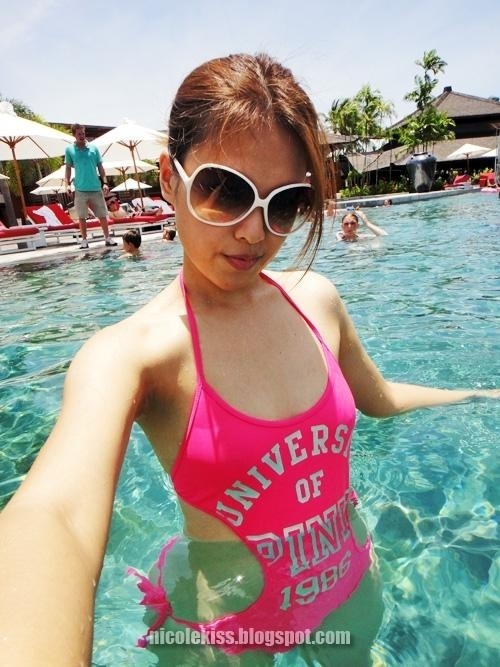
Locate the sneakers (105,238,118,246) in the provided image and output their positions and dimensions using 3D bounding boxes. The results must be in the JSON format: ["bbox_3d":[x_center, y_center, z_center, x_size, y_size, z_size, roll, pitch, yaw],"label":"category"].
[{"bbox_3d":[-3.261,-2.121,11.282,0.168,0.184,0.452,-5,5,-27],"label":"sneakers"}]

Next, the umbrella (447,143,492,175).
[{"bbox_3d":[13.711,-11.188,30.280,2.731,1.806,2.527,-1,7,8],"label":"umbrella"}]

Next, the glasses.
[{"bbox_3d":[0.017,-0.272,0.994,0.295,0.155,0.114,-15,15,-32],"label":"glasses"}]

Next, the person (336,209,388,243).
[{"bbox_3d":[2.407,-2.452,10.793,1.005,0.590,1.279,-1,-1,9],"label":"person"}]

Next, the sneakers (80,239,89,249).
[{"bbox_3d":[-3.776,-2.026,10.964,0.179,0.180,0.467,0,5,-4],"label":"sneakers"}]
